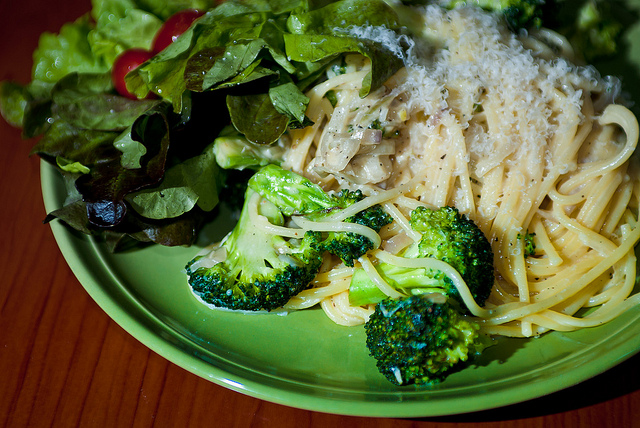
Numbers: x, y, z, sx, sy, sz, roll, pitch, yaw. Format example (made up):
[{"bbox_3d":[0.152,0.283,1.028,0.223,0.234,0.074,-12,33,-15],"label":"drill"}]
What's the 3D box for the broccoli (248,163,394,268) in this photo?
[{"bbox_3d":[-0.019,-0.029,2.587,0.565,0.153,0.394,35,99,6],"label":"broccoli"}]
